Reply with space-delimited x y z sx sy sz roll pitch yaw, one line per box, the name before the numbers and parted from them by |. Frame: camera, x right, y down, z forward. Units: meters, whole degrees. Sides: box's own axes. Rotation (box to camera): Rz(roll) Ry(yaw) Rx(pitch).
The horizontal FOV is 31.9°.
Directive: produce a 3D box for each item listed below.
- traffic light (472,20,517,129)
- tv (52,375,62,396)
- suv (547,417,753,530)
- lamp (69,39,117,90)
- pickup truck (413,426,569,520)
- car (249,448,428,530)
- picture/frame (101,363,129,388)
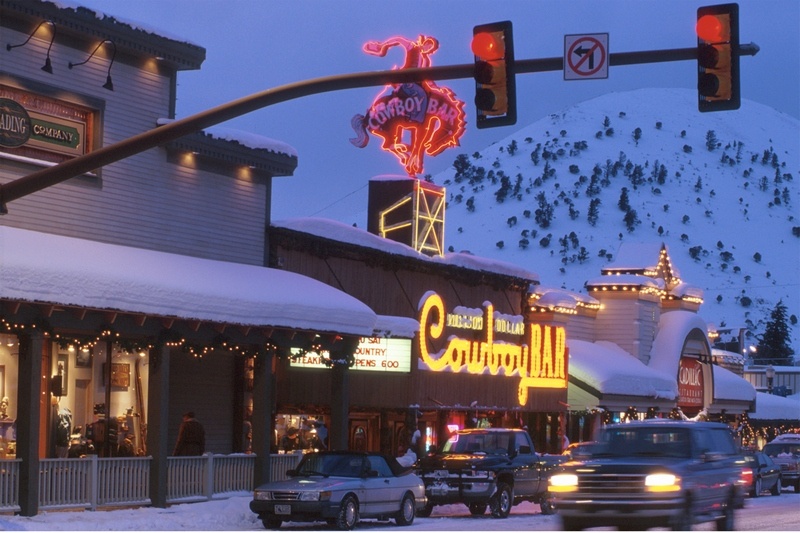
traffic light | 2.264 -4.545 33.211 0.995 2.377 0.932 -3 -13 4
tv | -10.458 3.676 42.711 0.095 0.706 0.566 -7 -14 23
suv | 6.804 5.503 36.711 2.850 2.596 7.147 -4 -8 31
lamp | -9.298 -6.304 42.819 1.480 1.302 0.589 7 -15 -34
pickup truck | 3.010 6.778 45.966 3.320 2.722 6.372 -1 -6 25
car | -1.713 6.375 39.655 4.833 2.338 1.870 9 -17 -39
picture/frame | -8.916 3.450 43.690 0.108 0.693 0.814 -10 -11 40
